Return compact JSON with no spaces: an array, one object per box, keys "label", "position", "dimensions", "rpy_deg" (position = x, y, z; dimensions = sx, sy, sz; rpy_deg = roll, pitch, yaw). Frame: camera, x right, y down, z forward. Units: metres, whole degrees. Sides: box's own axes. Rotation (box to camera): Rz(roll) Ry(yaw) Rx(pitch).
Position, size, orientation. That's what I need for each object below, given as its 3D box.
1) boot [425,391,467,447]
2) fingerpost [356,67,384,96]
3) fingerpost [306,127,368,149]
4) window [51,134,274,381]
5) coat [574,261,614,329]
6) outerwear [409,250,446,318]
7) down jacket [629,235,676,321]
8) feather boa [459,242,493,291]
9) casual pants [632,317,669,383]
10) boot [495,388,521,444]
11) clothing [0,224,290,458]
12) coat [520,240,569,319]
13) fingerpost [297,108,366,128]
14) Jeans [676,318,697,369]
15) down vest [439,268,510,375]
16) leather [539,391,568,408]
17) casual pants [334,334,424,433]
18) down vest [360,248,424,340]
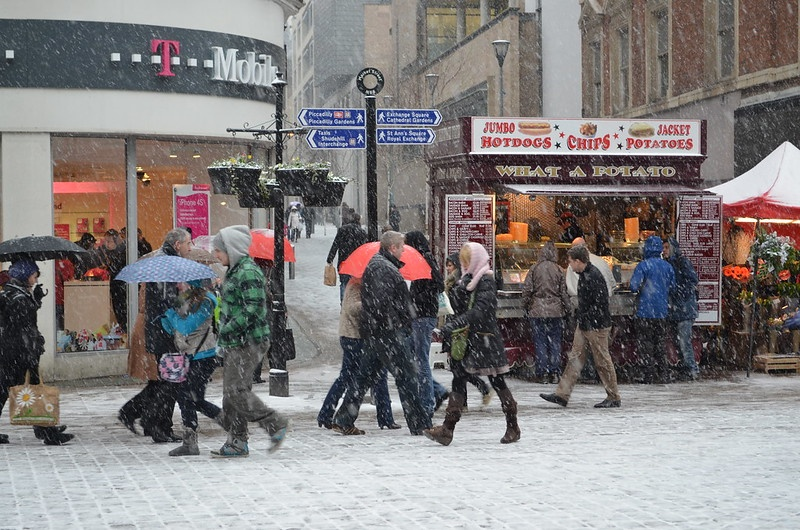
[{"label":"boot","position":[0.611,2.128,16.423],"dimensions":[0.537,0.733,0.315],"rpy_deg":[-1,2,1]},{"label":"fingerpost","position":[-0.499,-2.974,19.469],"dimensions":[0.424,0.471,0.474],"rpy_deg":[-1,2,-4]},{"label":"fingerpost","position":[-1.030,-2.036,19.354],"dimensions":[0.951,0.323,0.399],"rpy_deg":[-1,2,-3]},{"label":"window","position":[-4.153,-0.051,19.780],"dimensions":[4.516,4.549,0.114],"rpy_deg":[-2,4,-28]},{"label":"coat","position":[3.057,0.523,18.867],"dimensions":[0.514,1.074,0.292],"rpy_deg":[-1,2,8]},{"label":"outerwear","position":[0.409,0.392,17.694],"dimensions":[0.734,0.746,0.729],"rpy_deg":[0,0,-2]},{"label":"down jacket","position":[4.579,0.265,21.668],"dimensions":[0.912,1.493,0.436],"rpy_deg":[-2,2,-29]},{"label":"feather boa","position":[1.094,0.022,16.938],"dimensions":[0.586,0.830,0.588],"rpy_deg":[2,4,9]},{"label":"casual pants","position":[4.605,1.555,21.712],"dimensions":[0.549,1.186,0.314],"rpy_deg":[-1,2,11]},{"label":"boot","position":[1.536,2.089,16.690],"dimensions":[0.294,0.784,0.752],"rpy_deg":[-1,2,6]},{"label":"clothing","position":[-3.184,1.248,17.241],"dimensions":[3.193,3.894,2.013],"rpy_deg":[3,-6,-1]},{"label":"coat","position":[2.644,0.316,21.537],"dimensions":[0.828,1.364,0.475],"rpy_deg":[-1,2,7]},{"label":"fingerpost","position":[-1.102,-2.346,19.232],"dimensions":[1.079,0.296,0.284],"rpy_deg":[-1,2,-3]},{"label":"Jeans","position":[5.290,1.520,21.965],"dimensions":[0.360,0.950,0.276],"rpy_deg":[-1,2,15]},{"label":"down vest","position":[1.136,0.910,16.417],"dimensions":[1.301,1.871,1.074],"rpy_deg":[1,-5,-3]},{"label":"leather","position":[2.471,2.176,19.063],"dimensions":[0.411,0.271,0.712],"rpy_deg":[-1,2,8]},{"label":"casual pants","position":[-0.238,1.695,16.926],"dimensions":[1.157,1.502,0.695],"rpy_deg":[0,2,30]},{"label":"down vest","position":[-0.153,0.407,16.721],"dimensions":[0.743,1.383,1.050],"rpy_deg":[-10,15,-37]}]
